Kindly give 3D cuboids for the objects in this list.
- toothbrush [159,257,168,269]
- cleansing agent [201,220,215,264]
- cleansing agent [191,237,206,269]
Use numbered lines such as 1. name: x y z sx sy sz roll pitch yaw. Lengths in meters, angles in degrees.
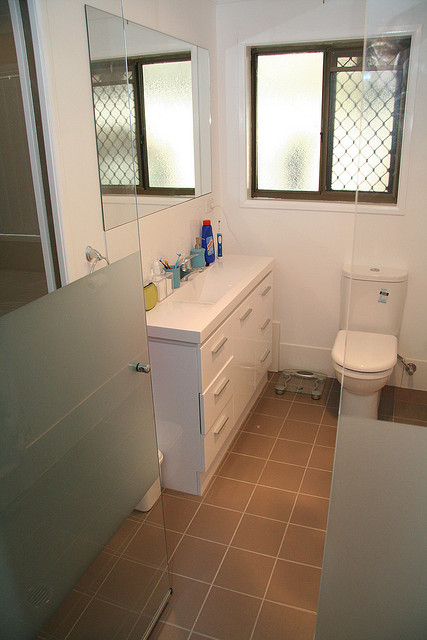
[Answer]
1. toothbrush: -0.285 -0.317 2.417 0.021 0.088 0.020 -34 10 -13
2. cleansing agent: -0.036 -0.523 2.908 0.059 0.301 0.103 10 22 39
3. cleansing agent: -0.099 -0.442 2.838 0.080 0.186 0.166 0 19 9
